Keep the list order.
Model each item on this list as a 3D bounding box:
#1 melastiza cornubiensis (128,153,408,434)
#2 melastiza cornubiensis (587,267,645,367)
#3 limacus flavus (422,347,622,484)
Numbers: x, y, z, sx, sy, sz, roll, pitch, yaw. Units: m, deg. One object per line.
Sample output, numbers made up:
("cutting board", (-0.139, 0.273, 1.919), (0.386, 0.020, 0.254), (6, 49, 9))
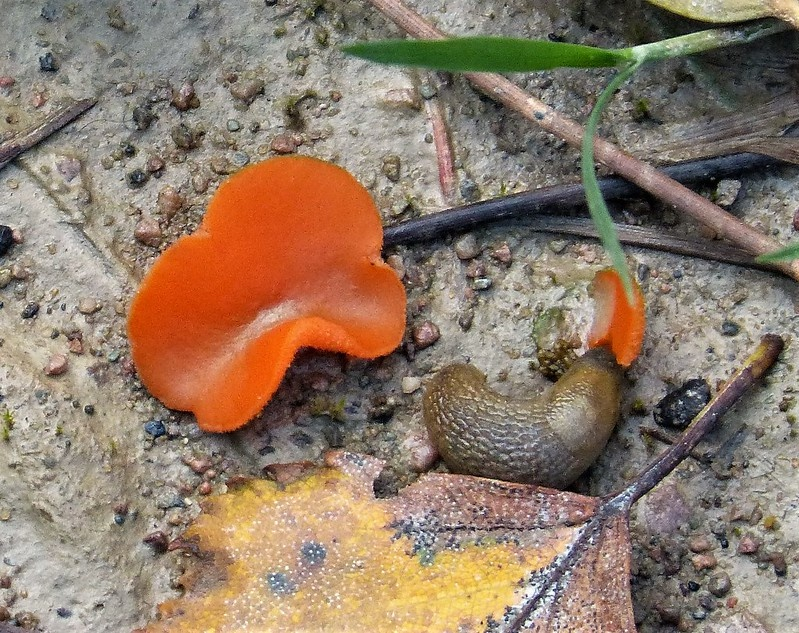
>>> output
("melastiza cornubiensis", (-0.521, -0.087, 3.448), (1.070, 0.396, 0.712), (-33, 69, -6))
("melastiza cornubiensis", (0.820, 0.001, 3.528), (0.194, 0.227, 0.378), (4, 70, 9))
("limacus flavus", (0.468, 0.386, 3.444), (0.758, 0.252, 0.512), (-7, 69, 5))
